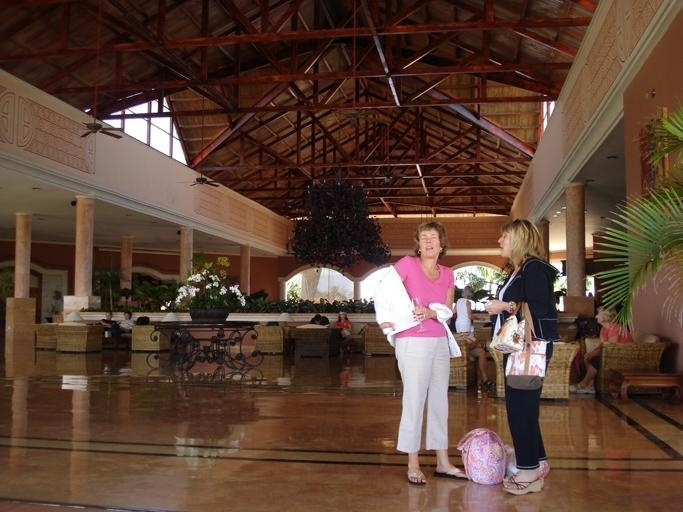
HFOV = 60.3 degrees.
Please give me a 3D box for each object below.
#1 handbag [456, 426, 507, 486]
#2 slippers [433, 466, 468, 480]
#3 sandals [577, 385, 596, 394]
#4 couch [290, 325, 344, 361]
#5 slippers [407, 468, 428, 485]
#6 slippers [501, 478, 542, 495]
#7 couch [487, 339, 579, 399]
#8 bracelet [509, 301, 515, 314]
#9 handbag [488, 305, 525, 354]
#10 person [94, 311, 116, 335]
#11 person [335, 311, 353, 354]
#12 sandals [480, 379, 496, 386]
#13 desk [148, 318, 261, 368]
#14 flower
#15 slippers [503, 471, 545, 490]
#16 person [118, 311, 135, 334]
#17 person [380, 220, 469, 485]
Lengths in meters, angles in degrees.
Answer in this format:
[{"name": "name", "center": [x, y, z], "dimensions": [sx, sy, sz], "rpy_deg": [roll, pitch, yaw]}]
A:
[{"name": "handbag", "center": [0.956, 1.417, 4.271], "dimensions": [0.372, 0.337, 0.354], "rpy_deg": [-2, 2, -33]}, {"name": "slippers", "center": [0.788, 1.556, 4.227], "dimensions": [0.207, 0.045, 0.078], "rpy_deg": [-3, 3, 23]}, {"name": "sandals", "center": [2.967, 1.630, 7.160], "dimensions": [0.274, 0.107, 0.088], "rpy_deg": [-2, -5, 11]}, {"name": "couch", "center": [-0.428, 1.686, 11.634], "dimensions": [1.065, 0.641, 0.655], "rpy_deg": [5, -11, -26]}, {"name": "slippers", "center": [0.533, 1.561, 4.175], "dimensions": [0.137, 0.103, 0.159], "rpy_deg": [-1, -10, 6]}, {"name": "slippers", "center": [1.226, 1.561, 4.006], "dimensions": [0.199, 0.065, 0.112], "rpy_deg": [2, -5, 3]}, {"name": "couch", "center": [2.215, 1.245, 6.921], "dimensions": [1.293, 0.841, 0.792], "rpy_deg": [0, 1, 17]}, {"name": "bracelet", "center": [1.190, 0.362, 4.104], "dimensions": [0.060, 0.066, 0.035], "rpy_deg": [-1, 5, 29]}, {"name": "handbag", "center": [1.151, 0.534, 4.069], "dimensions": [0.228, 0.281, 0.154], "rpy_deg": [-3, -10, 15]}, {"name": "person", "center": [-5.541, 1.604, 13.812], "dimensions": [0.490, 0.686, 0.329], "rpy_deg": [5, -22, -28]}, {"name": "person", "center": [0.041, 1.686, 12.685], "dimensions": [0.467, 1.109, 0.639], "rpy_deg": [-4, -47, 0]}, {"name": "sandals", "center": [1.920, 1.649, 7.648], "dimensions": [0.250, 0.090, 0.088], "rpy_deg": [-1, -3, 10]}, {"name": "desk", "center": [-2.681, 1.743, 11.471], "dimensions": [2.018, 0.824, 5.059], "rpy_deg": [2, -10, -10]}, {"name": "flower", "center": [-3.738, 0.636, 15.159], "dimensions": [1.694, 1.111, 1.216], "rpy_deg": [0, -13, -4]}, {"name": "slippers", "center": [1.229, 1.524, 3.995], "dimensions": [0.235, 0.079, 0.133], "rpy_deg": [1, -7, 0]}, {"name": "person", "center": [-5.115, 1.602, 13.947], "dimensions": [0.427, 0.319, 0.936], "rpy_deg": [-3, 16, -15]}, {"name": "person", "center": [0.576, 0.673, 4.221], "dimensions": [0.486, 1.859, 0.354], "rpy_deg": [9, -14, -44]}]
